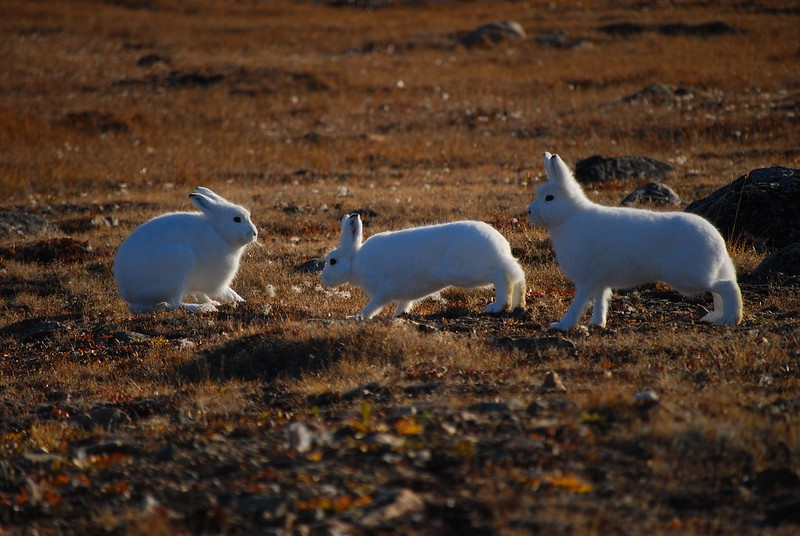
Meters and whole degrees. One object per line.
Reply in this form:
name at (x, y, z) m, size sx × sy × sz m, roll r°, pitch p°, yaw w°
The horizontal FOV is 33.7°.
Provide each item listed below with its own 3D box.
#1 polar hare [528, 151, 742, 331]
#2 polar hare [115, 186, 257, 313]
polar hare at (5.361, -0.588, 30.389) m, size 4.564 × 3.815 × 1.302 m, roll 1°, pitch 19°, yaw 5°
polar hare at (-5.409, -0.464, 33.206) m, size 3.744 × 2.928 × 2.370 m, roll -5°, pitch 6°, yaw -24°
